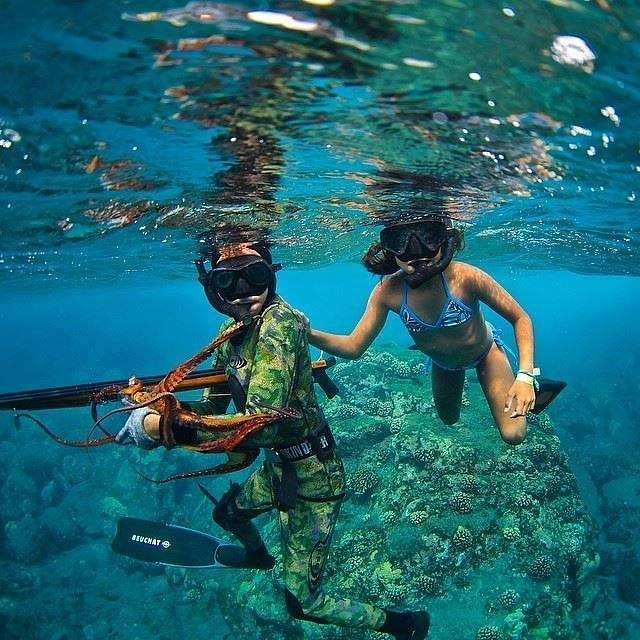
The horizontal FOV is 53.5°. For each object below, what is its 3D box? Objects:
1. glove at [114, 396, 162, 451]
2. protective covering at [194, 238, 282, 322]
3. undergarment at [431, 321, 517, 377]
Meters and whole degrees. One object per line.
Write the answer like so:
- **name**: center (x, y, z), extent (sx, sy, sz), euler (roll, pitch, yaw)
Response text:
- **glove**: center (-1.863, 1.097, 6.427), extent (0.507, 0.420, 0.232), euler (-5, -4, 26)
- **protective covering**: center (-1.362, -0.648, 8.380), extent (1.269, 0.576, 1.346), euler (-10, 18, -21)
- **undergarment**: center (2.527, 0.488, 9.347), extent (1.342, 0.328, 1.096), euler (10, -2, -8)
